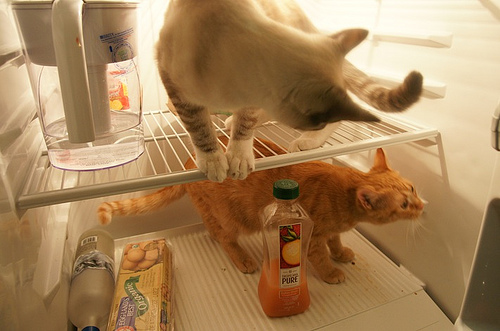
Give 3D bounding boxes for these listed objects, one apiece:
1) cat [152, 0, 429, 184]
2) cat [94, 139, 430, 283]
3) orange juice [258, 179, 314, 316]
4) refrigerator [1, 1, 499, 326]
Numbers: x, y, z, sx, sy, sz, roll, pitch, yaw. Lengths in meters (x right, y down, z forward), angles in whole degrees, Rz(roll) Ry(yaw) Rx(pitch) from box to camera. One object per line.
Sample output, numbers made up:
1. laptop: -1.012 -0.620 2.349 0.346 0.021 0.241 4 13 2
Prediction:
1. cat: 0.014 -0.168 0.775 0.436 0.295 0.576 -6 33 -14
2. cat: 0.008 0.141 1.161 1.001 0.441 0.277 4 26 9
3. orange juice: 0.098 0.240 0.975 0.154 0.303 0.226 1 32 6
4. refrigerator: -0.051 -0.113 1.110 1.015 0.669 1.090 -2 45 -22
